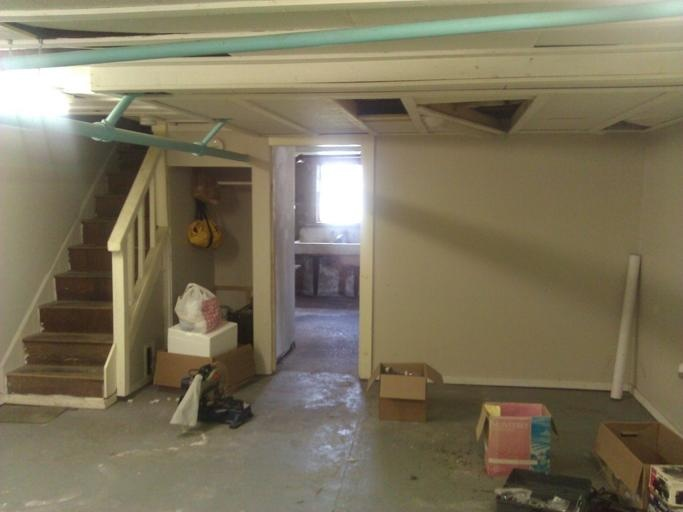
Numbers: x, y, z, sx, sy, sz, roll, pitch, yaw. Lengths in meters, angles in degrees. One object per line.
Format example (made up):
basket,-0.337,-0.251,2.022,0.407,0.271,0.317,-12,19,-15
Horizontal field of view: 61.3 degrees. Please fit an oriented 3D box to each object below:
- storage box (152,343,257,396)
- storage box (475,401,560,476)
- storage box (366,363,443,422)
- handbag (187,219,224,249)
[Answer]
storage box,-1.201,1.036,5.492,0.574,0.237,0.553,1,0,16
storage box,1.293,1.342,4.241,0.618,0.394,0.384,-3,4,14
storage box,0.512,1.139,4.967,0.542,0.252,0.507,1,1,4
handbag,-1.566,-0.238,6.568,0.282,0.357,0.396,0,12,2
